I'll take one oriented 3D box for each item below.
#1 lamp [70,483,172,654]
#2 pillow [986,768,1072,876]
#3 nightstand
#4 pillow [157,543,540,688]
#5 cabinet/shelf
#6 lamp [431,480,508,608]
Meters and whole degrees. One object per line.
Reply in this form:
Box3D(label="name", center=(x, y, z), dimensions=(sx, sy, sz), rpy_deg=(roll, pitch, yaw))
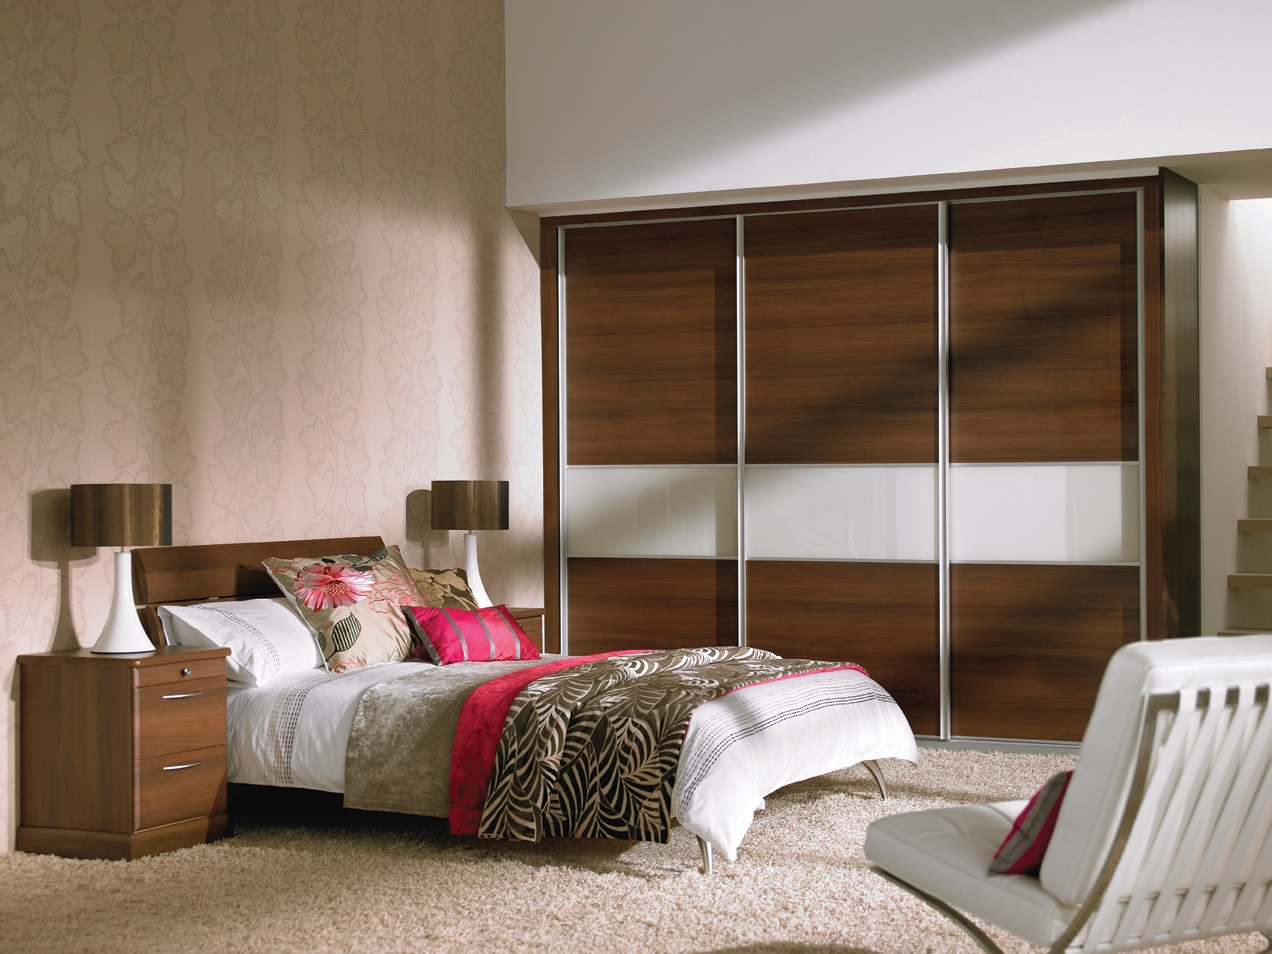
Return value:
Box3D(label="lamp", center=(-1.932, 0.332, 4.087), dimensions=(0.376, 0.617, 0.258), rpy_deg=(1, 1, 36))
Box3D(label="pillow", center=(0.917, 0.796, 2.552), dimensions=(0.070, 0.229, 0.236), rpy_deg=(18, 19, 20))
Box3D(label="nightstand", center=(-1.860, 0.970, 4.350), dimensions=(0.672, 0.879, 0.757), rpy_deg=(-2, -2, 21))
Box3D(label="pillow", center=(-1.370, 0.552, 4.789), dimensions=(0.750, 0.525, 1.293), rpy_deg=(0, 1, 26))
Box3D(label="cabinet/shelf", center=(1.341, -0.135, 5.672), dimensions=(3.076, 2.635, 1.001), rpy_deg=(-1, -1, 18))
Box3D(label="lamp", center=(-0.877, 0.318, 5.847), dimensions=(0.421, 0.532, 0.424), rpy_deg=(-3, -4, -11))
